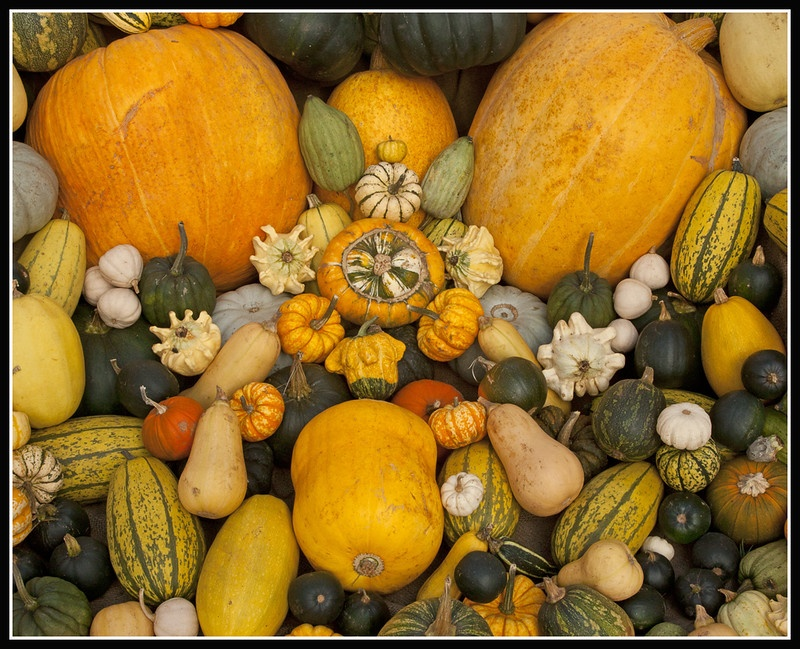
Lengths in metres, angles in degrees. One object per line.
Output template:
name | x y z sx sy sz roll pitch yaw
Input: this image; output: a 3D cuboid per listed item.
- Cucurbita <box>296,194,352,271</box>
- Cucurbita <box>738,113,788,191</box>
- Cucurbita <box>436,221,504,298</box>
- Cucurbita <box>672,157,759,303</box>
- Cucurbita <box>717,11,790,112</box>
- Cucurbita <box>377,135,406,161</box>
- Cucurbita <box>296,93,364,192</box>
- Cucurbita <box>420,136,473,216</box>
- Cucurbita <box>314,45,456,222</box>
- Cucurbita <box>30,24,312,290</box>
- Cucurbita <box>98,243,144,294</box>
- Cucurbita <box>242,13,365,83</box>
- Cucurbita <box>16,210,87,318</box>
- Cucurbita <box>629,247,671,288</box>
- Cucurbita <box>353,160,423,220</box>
Cucurbita | -0.522 -0.603 5.880 0.310 0.478 0.330 -24 2 23
Cucurbita | 2.353 -1.088 5.551 0.321 0.332 0.314 39 -5 24
Cucurbita | 0.469 -0.493 5.936 0.221 0.594 0.529 -38 22 -32
Cucurbita | 2.063 -0.541 5.790 0.456 0.968 0.449 24 15 24
Cucurbita | 2.287 -1.650 5.605 0.369 0.627 0.343 -10 9 10
Cucurbita | -0.053 -1.183 5.795 0.148 0.158 0.160 4 26 15
Cucurbita | -0.458 -1.241 5.824 0.383 0.667 0.439 -3 32 23
Cucurbita | 0.357 -0.972 5.921 0.261 0.565 0.286 0 30 -46
Cucurbita | 0.025 -1.380 6.206 0.885 1.351 0.942 0 22 9
Cucurbita | -1.543 -1.339 6.103 1.805 1.768 1.805 -17 23 -20
Cucurbita | -1.759 -0.343 5.456 0.166 0.236 0.167 -31 -14 -11
Cucurbita | -0.620 -1.853 5.720 0.509 0.540 0.498 12 12 -41
Cucurbita | -2.112 -0.365 5.350 0.325 0.648 0.334 32 -15 -34
Cucurbita | 1.667 -0.417 5.836 0.213 0.245 0.247 -18 66 -20
Cucurbita | -0.092 -0.859 5.947 0.385 0.409 0.394 30 -4 -7
